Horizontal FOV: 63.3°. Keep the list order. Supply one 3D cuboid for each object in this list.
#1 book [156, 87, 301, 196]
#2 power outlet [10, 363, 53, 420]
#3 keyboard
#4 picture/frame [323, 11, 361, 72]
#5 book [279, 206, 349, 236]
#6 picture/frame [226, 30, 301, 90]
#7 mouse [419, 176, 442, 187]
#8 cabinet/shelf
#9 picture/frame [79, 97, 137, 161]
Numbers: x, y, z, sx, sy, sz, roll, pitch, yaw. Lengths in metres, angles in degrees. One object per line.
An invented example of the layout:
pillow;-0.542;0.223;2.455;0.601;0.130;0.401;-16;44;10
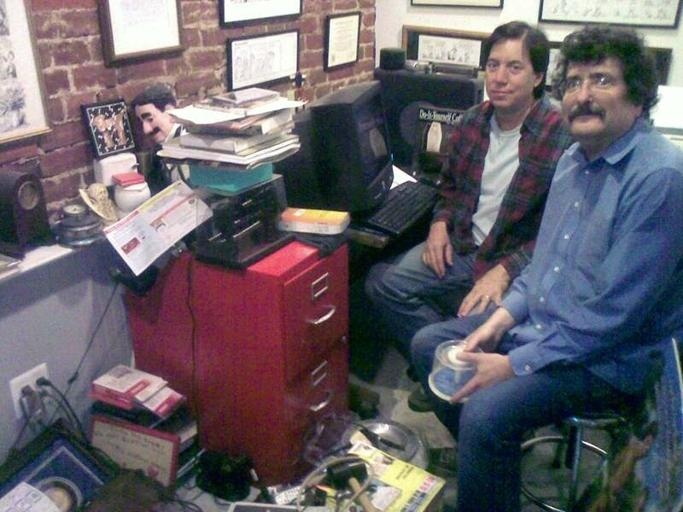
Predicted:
book;-0.400;-0.450;1.966;0.407;0.297;0.413;25;41;32
power outlet;-1.146;0.497;2.042;0.021;0.202;0.177;18;30;29
keyboard;0.271;-0.229;2.488;0.173;0.037;0.416;28;46;19
picture/frame;-0.008;-1.230;3.152;0.033;0.280;0.331;12;28;29
book;-0.107;-0.143;2.170;0.269;0.070;0.179;1;23;0
picture/frame;-0.376;-0.964;2.720;0.044;0.251;0.475;15;26;31
mouse;0.445;-0.378;2.756;0.072;0.017;0.068;14;32;19
cabinet/shelf;-0.401;0.403;2.067;0.712;0.930;0.530;7;27;15
picture/frame;-0.885;-0.476;2.086;0.025;0.197;0.193;5;29;43
